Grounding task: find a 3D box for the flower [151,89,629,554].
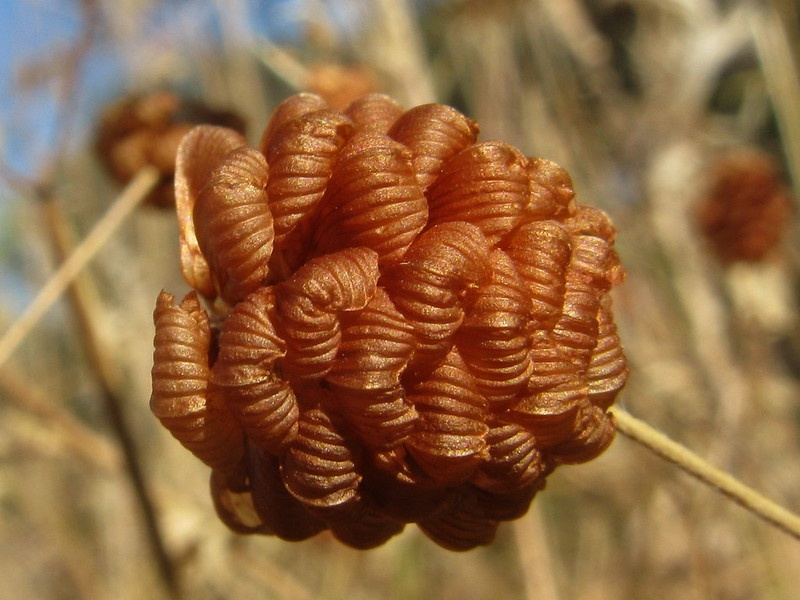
[{"bbox_3d":[-0.056,0.067,1.706,0.623,0.587,0.482,-11,91,-34],"label":"flower"}]
